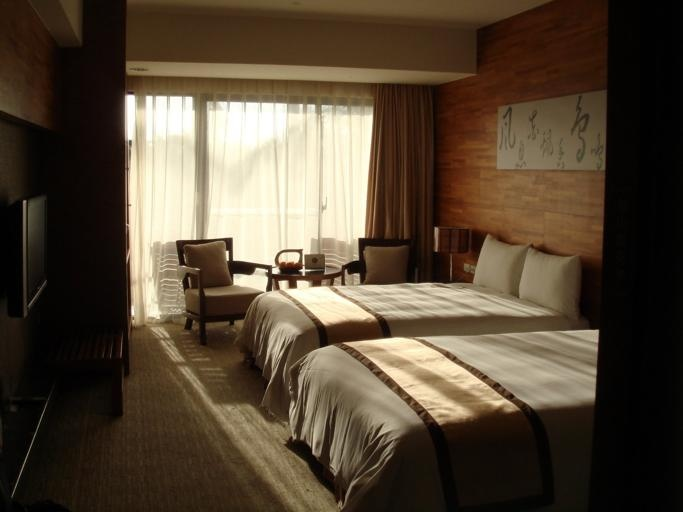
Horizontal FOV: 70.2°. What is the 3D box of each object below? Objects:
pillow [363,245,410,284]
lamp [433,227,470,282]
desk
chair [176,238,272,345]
[{"bbox_3d":[0.540,0.120,5.802,0.373,0.412,0.145,-1,-17,3],"label":"pillow"},{"bbox_3d":[1.263,0.009,5.735,0.428,0.687,0.517,0,7,-15],"label":"lamp"},{"bbox_3d":[-1.950,0.891,3.769,0.611,0.430,1.020,-3,8,-31],"label":"desk"},{"bbox_3d":[-1.451,0.296,5.480,1.041,1.488,1.032,-2,3,-35],"label":"chair"}]
